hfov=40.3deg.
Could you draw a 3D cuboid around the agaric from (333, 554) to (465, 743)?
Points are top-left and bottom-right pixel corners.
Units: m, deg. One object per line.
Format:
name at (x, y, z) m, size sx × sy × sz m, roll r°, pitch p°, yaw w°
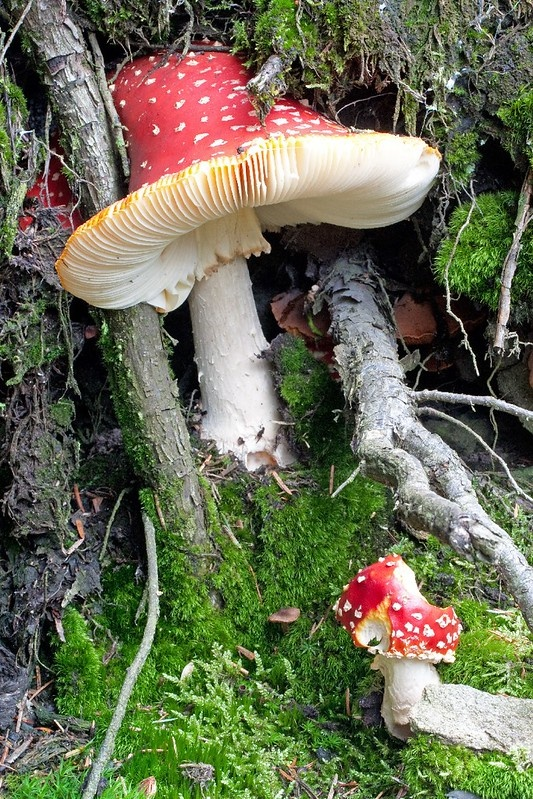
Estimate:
agaric at (0.481, 0.847, 2.438) m, size 0.317 × 0.605 × 0.447 m, roll -23°, pitch 35°, yaw -11°
